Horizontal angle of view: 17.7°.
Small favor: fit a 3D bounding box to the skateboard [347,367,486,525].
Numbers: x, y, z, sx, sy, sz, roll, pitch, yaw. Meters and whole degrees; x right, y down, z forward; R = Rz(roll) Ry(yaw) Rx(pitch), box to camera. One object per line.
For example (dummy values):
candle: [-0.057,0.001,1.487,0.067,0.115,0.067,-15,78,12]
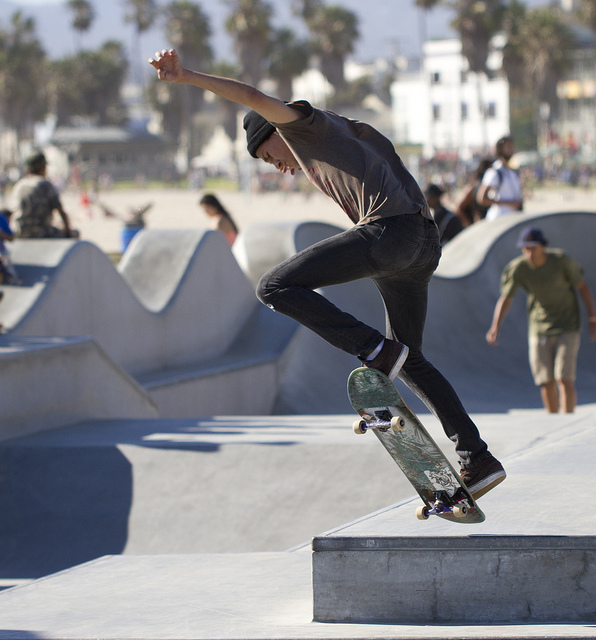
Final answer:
skateboard: [0.835,0.976,14.175,0.337,1.270,0.208,-36,4,40]
